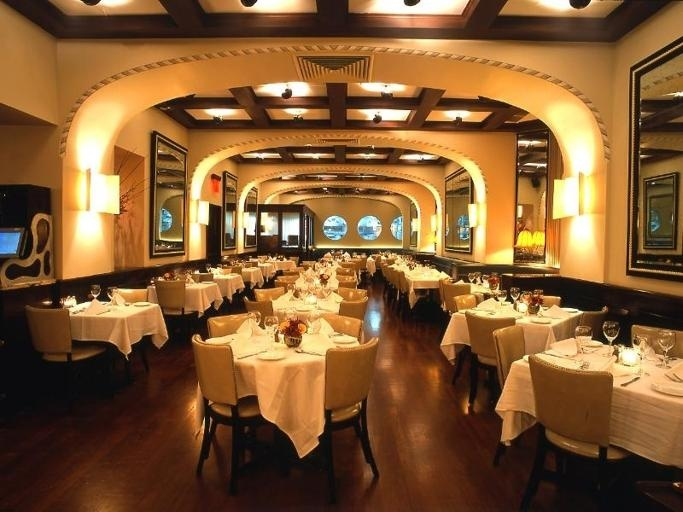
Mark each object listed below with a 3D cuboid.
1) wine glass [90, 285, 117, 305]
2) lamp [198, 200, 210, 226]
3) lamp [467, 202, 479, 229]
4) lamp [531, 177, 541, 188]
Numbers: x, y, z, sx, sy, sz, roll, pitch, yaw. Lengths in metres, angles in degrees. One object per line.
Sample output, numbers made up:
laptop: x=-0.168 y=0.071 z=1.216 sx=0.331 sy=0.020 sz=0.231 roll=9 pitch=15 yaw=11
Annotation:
wine glass: x=-3.308 y=0.536 z=6.595 sx=0.244 sy=0.445 sz=0.291 roll=1 pitch=-5 yaw=-3
lamp: x=-3.230 y=-1.021 z=11.153 sx=0.199 sy=0.514 sz=0.368 roll=0 pitch=2 yaw=-2
lamp: x=3.210 y=-0.979 z=11.489 sx=0.208 sy=0.573 sz=0.452 roll=0 pitch=2 yaw=11
lamp: x=4.299 y=-1.624 z=10.466 sx=0.053 sy=0.198 sz=0.204 roll=1 pitch=5 yaw=-17
